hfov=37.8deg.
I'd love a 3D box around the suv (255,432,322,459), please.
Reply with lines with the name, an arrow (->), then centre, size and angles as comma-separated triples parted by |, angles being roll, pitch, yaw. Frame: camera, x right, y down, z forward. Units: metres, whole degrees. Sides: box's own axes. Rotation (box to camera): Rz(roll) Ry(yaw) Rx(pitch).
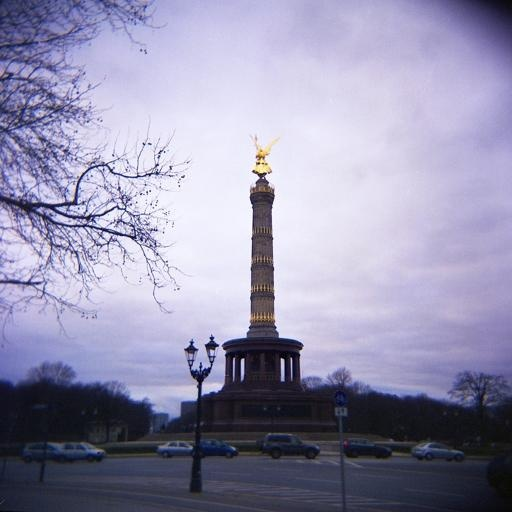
suv -> 1.932, 11.100, 43.880 | 3.077, 1.289, 1.413 | -2, -25, 2

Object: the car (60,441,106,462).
car -> -10.138, 11.468, 44.028 | 2.214, 0.993, 1.192 | -4, -23, 5

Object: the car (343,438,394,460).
car -> 6.778, 11.733, 45.713 | 2.989, 1.006, 1.307 | -2, -11, -5

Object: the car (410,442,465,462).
car -> 10.562, 11.436, 43.755 | 2.548, 0.849, 1.247 | -2, -12, 3
